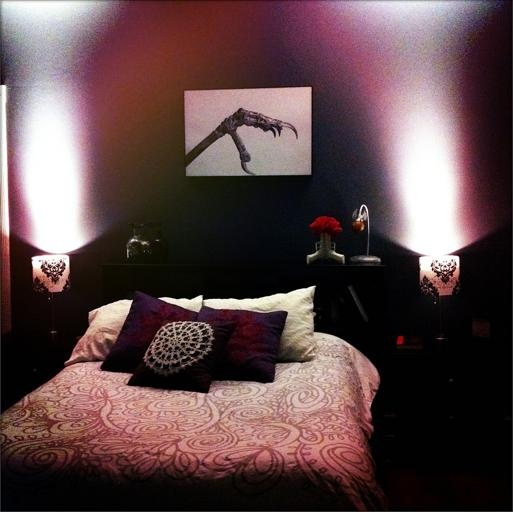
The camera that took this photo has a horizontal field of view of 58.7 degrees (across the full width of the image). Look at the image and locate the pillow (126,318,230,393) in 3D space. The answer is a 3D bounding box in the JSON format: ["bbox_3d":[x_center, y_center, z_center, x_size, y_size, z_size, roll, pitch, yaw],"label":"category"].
[{"bbox_3d":[-0.333,0.448,2.142,0.323,0.113,0.325,0,48,29],"label":"pillow"}]

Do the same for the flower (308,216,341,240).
[{"bbox_3d":[0.455,-0.188,2.989,0.139,0.127,0.167,-6,12,-39],"label":"flower"}]

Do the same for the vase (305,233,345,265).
[{"bbox_3d":[0.461,-0.045,3.077,0.213,0.214,0.208,0,2,25],"label":"vase"}]
